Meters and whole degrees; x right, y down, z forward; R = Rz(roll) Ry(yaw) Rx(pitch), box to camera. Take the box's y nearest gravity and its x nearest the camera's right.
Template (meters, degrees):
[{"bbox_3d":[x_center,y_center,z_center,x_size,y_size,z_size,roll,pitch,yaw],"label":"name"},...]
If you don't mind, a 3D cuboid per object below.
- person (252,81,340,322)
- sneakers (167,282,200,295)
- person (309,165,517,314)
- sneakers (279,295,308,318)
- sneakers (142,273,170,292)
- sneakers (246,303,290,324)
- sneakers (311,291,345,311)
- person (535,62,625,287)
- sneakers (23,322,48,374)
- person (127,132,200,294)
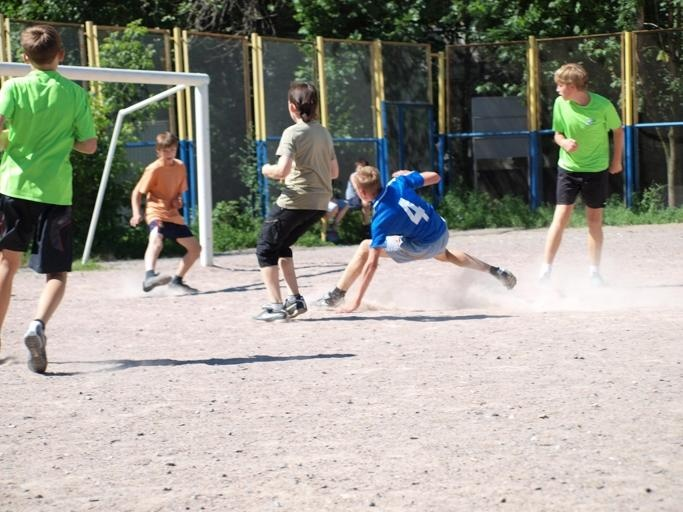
[{"bbox_3d":[-0.401,-0.448,8.756,0.415,2.000,0.748,9,18,41],"label":"person"},{"bbox_3d":[-1.629,0.345,10.586,0.376,0.122,0.106,10,27,-22],"label":"sneakers"},{"bbox_3d":[0.547,-0.196,8.978,1.926,1.082,0.981,5,48,13],"label":"person"},{"bbox_3d":[-0.372,0.422,8.722,0.157,0.148,0.271,-23,11,-38],"label":"sneakers"},{"bbox_3d":[-1.863,0.278,10.396,0.277,0.230,0.319,-5,12,-11],"label":"sneakers"},{"bbox_3d":[-0.641,0.489,8.825,0.369,0.115,0.128,0,1,31],"label":"sneakers"},{"bbox_3d":[-0.082,0.396,9.313,0.403,0.189,0.115,3,16,11],"label":"sneakers"},{"bbox_3d":[2.351,-0.796,10.064,0.720,2.081,0.888,1,14,19],"label":"person"},{"bbox_3d":[-2.158,0.631,7.108,0.166,0.355,0.178,-7,38,-15],"label":"sneakers"},{"bbox_3d":[-1.838,-0.430,10.675,0.659,1.611,1.036,-5,13,-8],"label":"person"}]
